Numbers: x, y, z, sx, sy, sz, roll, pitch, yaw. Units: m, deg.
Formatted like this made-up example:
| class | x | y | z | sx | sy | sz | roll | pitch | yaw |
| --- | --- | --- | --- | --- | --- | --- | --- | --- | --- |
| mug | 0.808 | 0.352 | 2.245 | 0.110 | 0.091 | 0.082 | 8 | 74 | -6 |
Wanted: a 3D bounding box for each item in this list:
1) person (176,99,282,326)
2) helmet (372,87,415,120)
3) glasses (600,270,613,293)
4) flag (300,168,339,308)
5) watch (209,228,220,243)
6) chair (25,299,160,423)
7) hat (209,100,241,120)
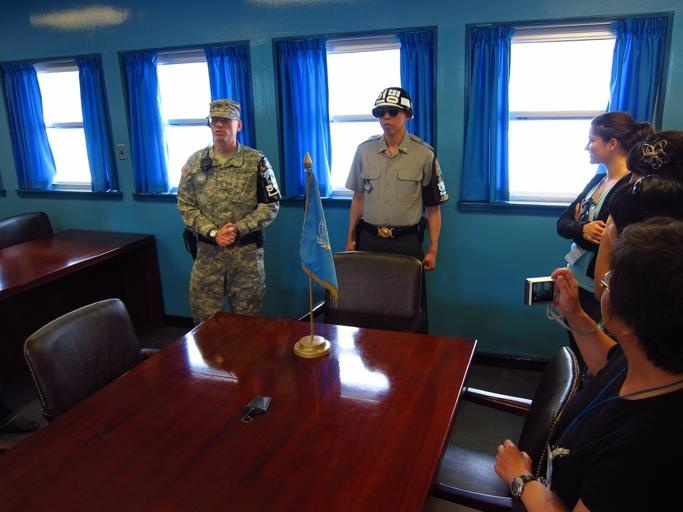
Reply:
| class | x | y | z | sx | sy | sz | roll | pitch | yaw |
| --- | --- | --- | --- | --- | --- | --- | --- | --- | --- |
| person | -0.772 | -0.274 | 3.311 | 0.616 | 1.430 | 0.496 | 9 | 20 | 29 |
| helmet | 0.315 | -0.948 | 3.119 | 0.238 | 0.181 | 0.158 | -1 | 19 | 0 |
| glasses | 0.746 | 0.071 | 1.414 | 0.023 | 0.088 | 0.080 | 1 | 1 | 22 |
| flag | -0.105 | -0.080 | 2.185 | 0.162 | 0.598 | 0.257 | -2 | 18 | -2 |
| watch | -0.802 | -0.127 | 3.156 | 0.051 | 0.079 | 0.085 | -29 | -16 | 34 |
| chair | -1.183 | 0.355 | 2.420 | 0.448 | 0.648 | 0.479 | -22 | 16 | -41 |
| hat | -0.737 | -0.909 | 3.161 | 0.196 | 0.136 | 0.144 | -9 | 20 | -21 |
